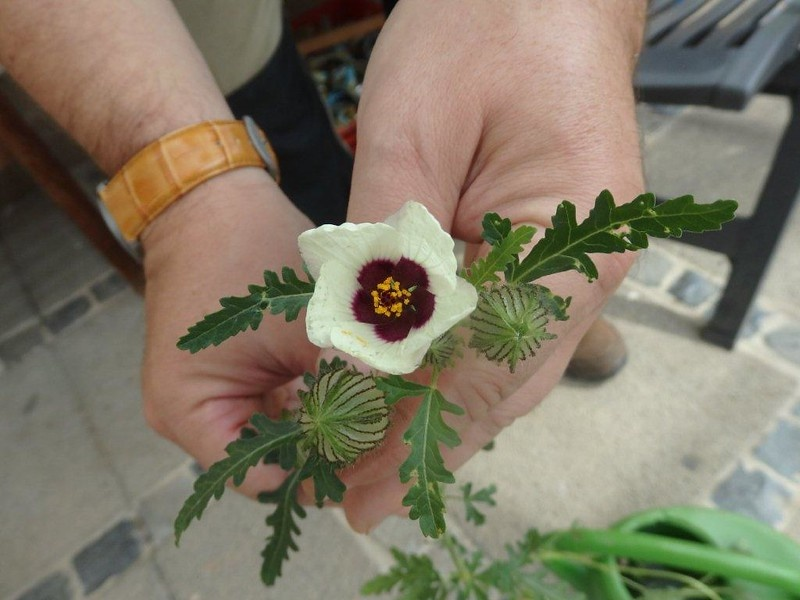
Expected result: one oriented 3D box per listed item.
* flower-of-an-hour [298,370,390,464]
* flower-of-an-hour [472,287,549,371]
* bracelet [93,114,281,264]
[{"bbox_3d":[-0.070,0.155,0.913,0.105,0.056,0.135,5,88,-9],"label":"flower-of-an-hour"},{"bbox_3d":[0.142,0.034,0.880,0.101,0.062,0.095,31,66,23],"label":"flower-of-an-hour"},{"bbox_3d":[-0.403,-0.243,1.389,0.240,0.260,0.285,-27,93,6],"label":"bracelet"}]
